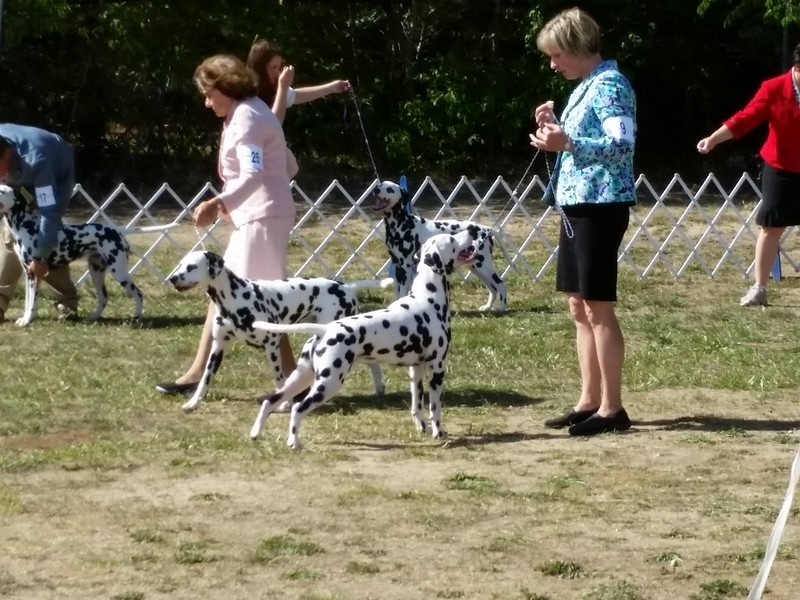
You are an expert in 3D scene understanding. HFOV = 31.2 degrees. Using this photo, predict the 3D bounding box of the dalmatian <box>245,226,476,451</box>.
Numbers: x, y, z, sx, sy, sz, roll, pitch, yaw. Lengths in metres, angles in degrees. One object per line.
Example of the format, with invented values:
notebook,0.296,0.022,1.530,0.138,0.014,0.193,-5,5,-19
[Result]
dalmatian,-0.190,0.298,9.913,2.020,1.369,0.510,-9,8,-40

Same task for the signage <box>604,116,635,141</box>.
signage,1.468,-1.137,9.602,0.190,0.133,0.186,0,1,31

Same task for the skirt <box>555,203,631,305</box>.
skirt,1.304,-0.328,9.837,0.528,0.671,0.274,1,4,17

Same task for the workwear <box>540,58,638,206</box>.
workwear,1.325,-1.134,9.740,0.528,0.992,0.431,1,4,6

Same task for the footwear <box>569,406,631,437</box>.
footwear,1.387,0.864,10.071,0.461,0.156,0.160,-3,-1,-14

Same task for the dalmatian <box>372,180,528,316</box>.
dalmatian,0.397,-0.479,14.097,1.918,1.185,0.450,4,7,-35

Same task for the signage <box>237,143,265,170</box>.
signage,-1.038,-0.986,9.868,0.185,0.167,0.170,-8,3,29

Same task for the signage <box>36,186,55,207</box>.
signage,-2.969,-0.864,11.916,0.179,0.172,0.171,-5,-1,-10

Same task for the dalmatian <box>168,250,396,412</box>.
dalmatian,-0.851,0.234,10.807,2.053,1.087,0.477,-1,-6,-39
